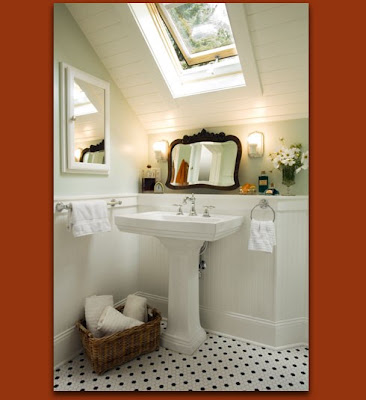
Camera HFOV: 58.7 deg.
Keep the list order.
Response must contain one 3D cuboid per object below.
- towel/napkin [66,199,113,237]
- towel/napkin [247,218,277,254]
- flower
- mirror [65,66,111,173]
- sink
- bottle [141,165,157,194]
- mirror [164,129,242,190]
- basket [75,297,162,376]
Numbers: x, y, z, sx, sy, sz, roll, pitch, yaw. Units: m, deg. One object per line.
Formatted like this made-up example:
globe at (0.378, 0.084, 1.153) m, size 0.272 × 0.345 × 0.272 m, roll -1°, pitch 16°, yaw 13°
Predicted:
towel/napkin at (-0.557, 0.112, 1.942) m, size 0.114 × 0.202 × 0.264 m, roll -10°, pitch -3°, yaw 37°
towel/napkin at (0.460, 0.215, 1.921) m, size 0.155 × 0.191 × 0.053 m, roll -1°, pitch 0°, yaw 15°
flower at (0.664, -0.272, 2.039) m, size 0.215 × 0.244 × 0.199 m, roll 15°, pitch 13°, yaw 36°
mirror at (-0.588, -0.461, 1.986) m, size 0.071 × 0.661 × 0.476 m, roll -1°, pitch 0°, yaw 23°
sink at (-0.017, 0.189, 2.027) m, size 0.690 × 0.208 × 0.464 m, roll -2°, pitch -1°, yaw 28°
bottle at (-0.270, -0.146, 2.532) m, size 0.117 × 0.208 × 0.074 m, roll -1°, pitch 0°, yaw 0°
mirror at (0.167, -0.287, 2.337) m, size 0.427 × 0.372 × 0.032 m, roll 0°, pitch -5°, yaw 26°
basket at (-0.355, 0.794, 1.886) m, size 0.231 × 0.179 × 0.335 m, roll 3°, pitch 3°, yaw 42°
